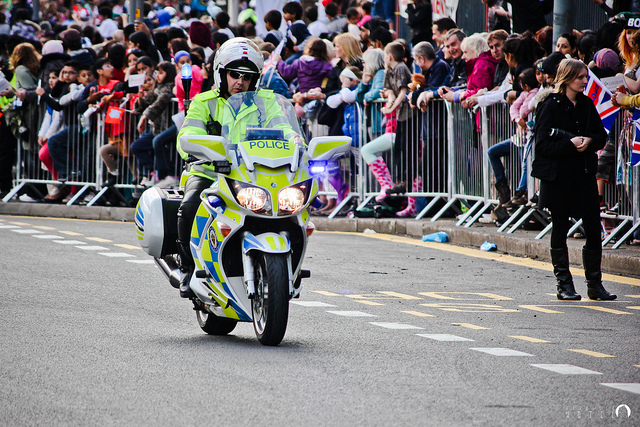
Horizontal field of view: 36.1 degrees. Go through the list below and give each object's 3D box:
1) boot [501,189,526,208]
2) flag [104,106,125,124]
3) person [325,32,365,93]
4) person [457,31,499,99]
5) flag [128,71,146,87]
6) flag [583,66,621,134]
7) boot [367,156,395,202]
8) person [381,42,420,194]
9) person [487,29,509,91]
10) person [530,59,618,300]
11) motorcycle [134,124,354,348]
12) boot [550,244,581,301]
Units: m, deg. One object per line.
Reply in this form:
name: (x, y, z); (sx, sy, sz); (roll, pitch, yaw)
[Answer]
boot: (3.024, -0.227, 15.248); (0.133, 0.306, 0.437); (-3, 7, -42)
flag: (-4.010, -1.922, 19.241); (0.285, 0.305, 0.032); (17, -4, 8)
person: (0.616, -2.873, 18.474); (1.087, 1.005, 0.741); (0, 7, 8)
person: (2.635, -2.266, 16.279); (0.824, 1.317, 0.910); (0, 9, 11)
flag: (-3.528, -2.573, 18.987); (0.375, 0.270, 0.052); (1, 6, 15)
flag: (3.811, -1.502, 13.210); (0.451, 0.789, 0.333); (2, 5, 15)
boot: (1.124, -0.599, 17.506); (0.453, 0.821, 0.262); (1, 5, 4)
person: (1.387, -1.576, 17.008); (0.595, 2.542, 0.733); (3, 5, 25)
person: (2.885, -2.436, 15.695); (0.296, 0.980, 0.618); (1, 5, -3)
person: (2.937, -0.408, 11.416); (0.942, 2.786, 0.871); (0, 3, 15)
motorcycle: (-0.612, 0.220, 9.050); (1.343, 2.058, 0.719); (3, 5, 20)
boot: (2.862, 0.679, 11.353); (0.357, 0.605, 0.281); (2, 5, 13)
